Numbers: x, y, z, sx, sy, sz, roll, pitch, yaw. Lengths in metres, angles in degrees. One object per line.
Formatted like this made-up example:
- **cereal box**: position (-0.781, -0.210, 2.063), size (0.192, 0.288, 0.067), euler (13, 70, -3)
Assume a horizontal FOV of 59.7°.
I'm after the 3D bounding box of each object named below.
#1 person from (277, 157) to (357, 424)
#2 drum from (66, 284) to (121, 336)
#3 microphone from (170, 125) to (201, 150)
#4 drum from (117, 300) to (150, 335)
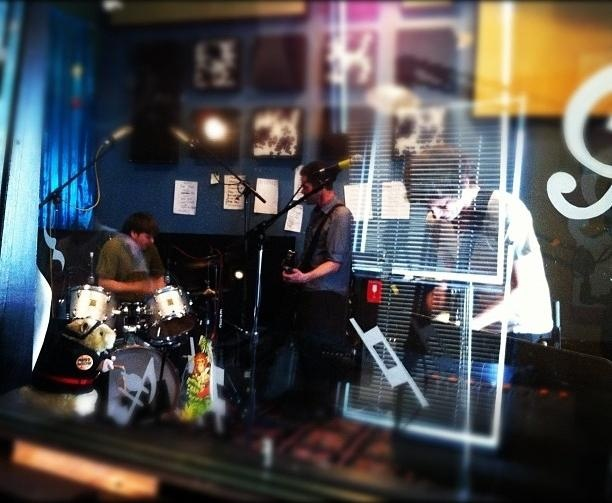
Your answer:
- **person**: position (0.055, 0.125, 2.486), size (0.339, 1.088, 0.658), euler (7, 6, 1)
- **drum**: position (-1.002, 0.239, 2.536), size (0.278, 0.163, 0.248), euler (8, 1, 3)
- **microphone**: position (-0.667, -0.636, 2.939), size (0.230, 0.068, 0.052), euler (39, -1, 32)
- **drum**: position (-0.844, 0.312, 2.662), size (0.179, 0.170, 0.178), euler (7, 1, -1)
